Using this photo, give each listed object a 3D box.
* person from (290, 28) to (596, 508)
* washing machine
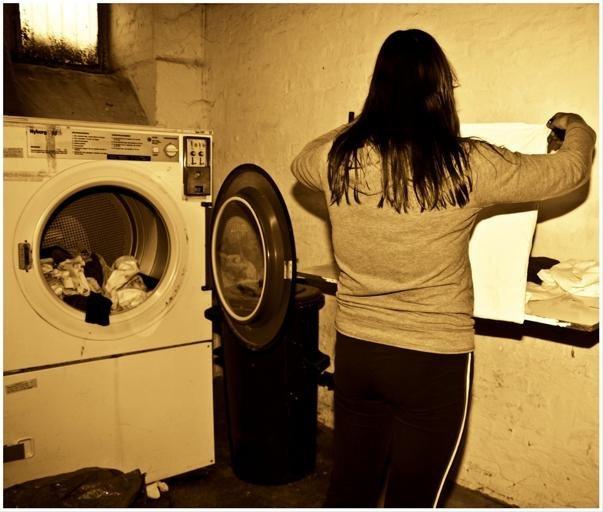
[{"bbox_3d":[0.329,0.074,1.344,0.479,1.425,0.603,1,4,9],"label":"person"},{"bbox_3d":[-0.794,0.205,2.181,0.876,1.505,0.368,-6,12,-29],"label":"washing machine"}]
